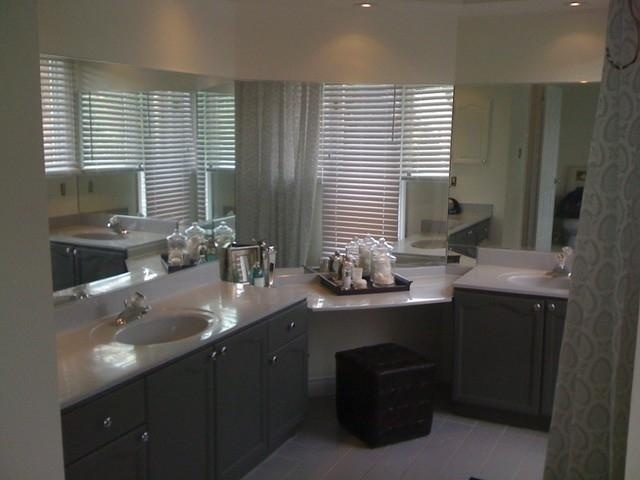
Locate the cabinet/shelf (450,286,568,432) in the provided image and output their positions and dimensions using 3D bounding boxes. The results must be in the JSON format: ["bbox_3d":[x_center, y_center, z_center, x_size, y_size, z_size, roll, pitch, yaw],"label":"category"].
[{"bbox_3d":[1.247,0.751,3.274,0.975,0.997,0.539,2,1,21],"label":"cabinet/shelf"}]

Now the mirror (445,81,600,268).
[{"bbox_3d":[1.421,-0.532,3.500,1.235,1.552,0.108,2,7,19],"label":"mirror"}]

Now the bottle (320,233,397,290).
[{"bbox_3d":[0.288,0.140,3.641,0.453,0.319,0.376,1,7,9],"label":"bottle"}]

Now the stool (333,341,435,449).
[{"bbox_3d":[0.442,0.964,3.480,0.573,0.607,0.572,-3,6,-28],"label":"stool"}]

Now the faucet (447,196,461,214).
[{"bbox_3d":[1.036,-0.259,3.815,0.113,0.116,0.103,4,6,24],"label":"faucet"}]

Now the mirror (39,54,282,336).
[{"bbox_3d":[-0.910,-0.270,2.801,0.553,1.552,1.619,3,7,25],"label":"mirror"}]

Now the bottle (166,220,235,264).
[{"bbox_3d":[-0.750,0.014,3.204,0.141,0.205,0.468,3,7,26],"label":"bottle"}]
